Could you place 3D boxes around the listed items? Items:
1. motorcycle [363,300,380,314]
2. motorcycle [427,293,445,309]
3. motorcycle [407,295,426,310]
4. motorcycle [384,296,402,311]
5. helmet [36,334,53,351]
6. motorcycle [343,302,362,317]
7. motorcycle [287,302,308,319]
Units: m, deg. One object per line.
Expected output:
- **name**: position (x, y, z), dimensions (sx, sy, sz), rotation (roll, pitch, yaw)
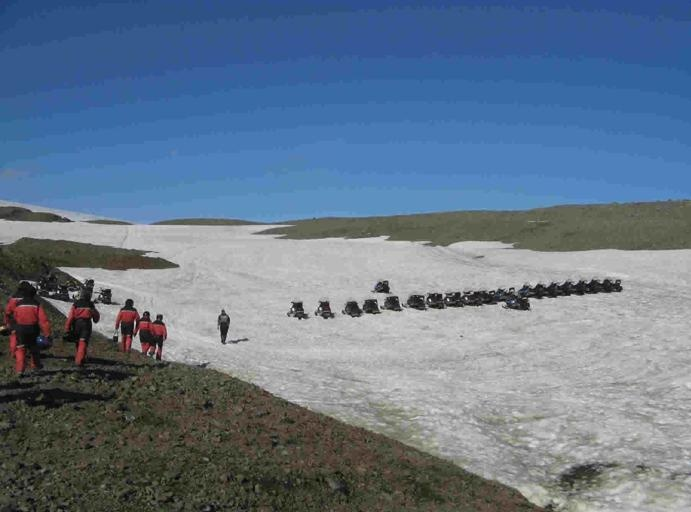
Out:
- **motorcycle**: position (1.559, 3.078, 33.217), dimensions (0.753, 0.461, 1.070), rotation (1, 4, -5)
- **motorcycle**: position (5.655, 2.857, 34.230), dimensions (1.138, 0.736, 1.262), rotation (-2, 11, -7)
- **motorcycle**: position (4.461, 2.925, 34.222), dimensions (1.105, 0.584, 0.969), rotation (1, -4, 8)
- **motorcycle**: position (2.919, 2.981, 33.817), dimensions (1.059, 0.544, 0.917), rotation (1, 5, 1)
- **helmet**: position (-8.572, 2.453, 15.301), dimensions (0.425, 0.372, 0.462), rotation (14, 10, 17)
- **motorcycle**: position (0.420, 3.164, 32.513), dimensions (0.975, 0.680, 1.252), rotation (-5, 12, -19)
- **motorcycle**: position (-2.862, 3.207, 32.253), dimensions (1.133, 0.715, 1.704), rotation (-5, 12, -19)
